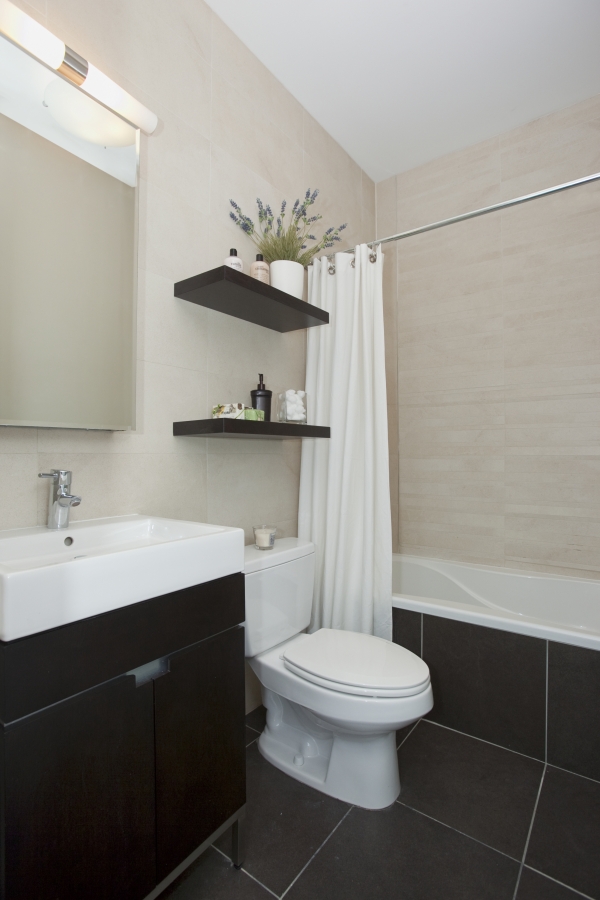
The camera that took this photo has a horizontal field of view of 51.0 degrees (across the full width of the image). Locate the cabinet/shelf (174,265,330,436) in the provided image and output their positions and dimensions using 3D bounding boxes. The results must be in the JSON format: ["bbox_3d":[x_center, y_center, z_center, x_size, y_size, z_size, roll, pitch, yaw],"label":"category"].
[{"bbox_3d":[-0.137,-0.280,2.036,0.245,0.518,0.660,3,7,31],"label":"cabinet/shelf"}]

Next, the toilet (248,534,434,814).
[{"bbox_3d":[0.164,0.686,2.120,0.699,0.917,0.431,-1,0,36],"label":"toilet"}]

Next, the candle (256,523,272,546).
[{"bbox_3d":[-0.116,0.285,2.061,0.044,0.058,0.062,1,-4,10],"label":"candle"}]
